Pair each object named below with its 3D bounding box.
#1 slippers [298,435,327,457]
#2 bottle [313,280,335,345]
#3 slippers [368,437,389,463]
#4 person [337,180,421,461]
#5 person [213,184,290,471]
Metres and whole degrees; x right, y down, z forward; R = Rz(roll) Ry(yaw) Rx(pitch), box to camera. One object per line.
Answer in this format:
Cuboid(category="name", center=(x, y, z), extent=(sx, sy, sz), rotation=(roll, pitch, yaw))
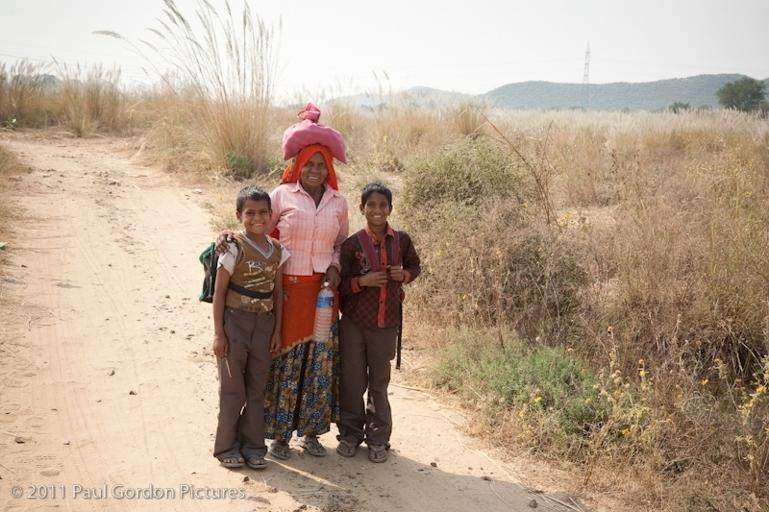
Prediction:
Cuboid(category="slippers", center=(-0.733, 1.995, 7.235), extent=(0.140, 0.120, 0.281), rotation=(-1, 2, -33))
Cuboid(category="bottle", center=(-0.620, 0.577, 7.071), extent=(0.194, 0.620, 0.127), rotation=(3, 9, -5))
Cuboid(category="slippers", center=(-0.068, 2.036, 7.229), extent=(0.261, 0.179, 0.455), rotation=(-1, -2, -1))
Cuboid(category="person", center=(-0.112, 0.697, 7.199), extent=(0.777, 2.864, 0.469), rotation=(3, 9, -4))
Cuboid(category="person", center=(-1.379, 0.718, 6.970), extent=(0.687, 2.821, 0.510), rotation=(4, 9, 0))
